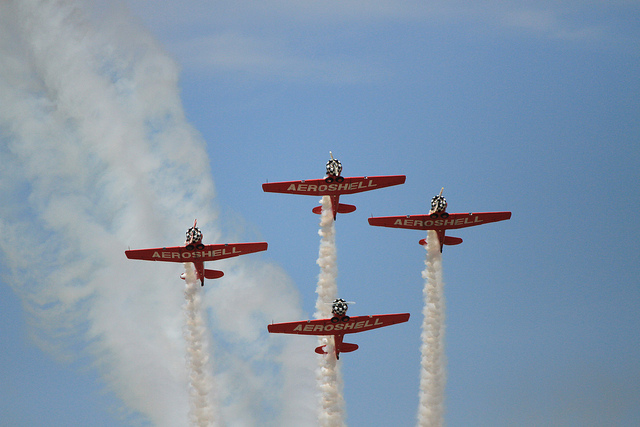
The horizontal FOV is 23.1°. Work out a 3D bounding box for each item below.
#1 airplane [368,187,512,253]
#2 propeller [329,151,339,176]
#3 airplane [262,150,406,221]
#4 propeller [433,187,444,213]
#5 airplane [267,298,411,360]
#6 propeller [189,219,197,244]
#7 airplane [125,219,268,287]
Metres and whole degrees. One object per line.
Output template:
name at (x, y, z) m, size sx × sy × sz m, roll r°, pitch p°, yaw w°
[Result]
airplane at (8.156, 0.569, 106.708) m, size 9.283 × 2.555 × 6.221 m, roll 0°, pitch -39°, yaw 3°
propeller at (0.993, -3.398, 104.944) m, size 0.641 × 1.461 × 3.121 m, roll -1°, pitch 2°, yaw 1°
airplane at (1.135, -1.737, 107.560) m, size 9.980 × 3.053 × 5.970 m, roll -6°, pitch -39°, yaw 1°
propeller at (7.899, -0.896, 104.836) m, size 0.518 × 1.346 × 2.117 m, roll -1°, pitch 3°, yaw 4°
airplane at (1.291, 7.594, 104.099) m, size 9.712 × 2.671 × 6.044 m, roll -5°, pitch 26°, yaw 5°
propeller at (-8.696, 1.146, 107.142) m, size 0.249 × 1.784 × 0.277 m, roll 12°, pitch -27°, yaw 14°
airplane at (-8.302, 2.794, 104.453) m, size 9.677 × 2.671 × 5.916 m, roll 0°, pitch 33°, yaw -6°
